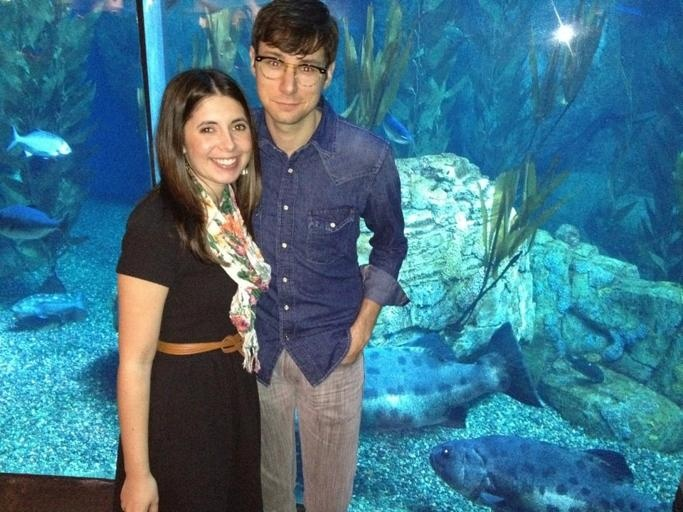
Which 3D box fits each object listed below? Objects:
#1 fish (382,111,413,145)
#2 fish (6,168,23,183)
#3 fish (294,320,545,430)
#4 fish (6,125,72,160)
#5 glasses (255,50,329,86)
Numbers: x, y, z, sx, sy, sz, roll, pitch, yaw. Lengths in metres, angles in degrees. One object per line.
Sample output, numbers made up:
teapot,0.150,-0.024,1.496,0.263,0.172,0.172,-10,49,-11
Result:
fish,0.396,-1.016,4.645,0.361,0.124,0.119,35,34,32
fish,-2.651,-0.647,4.747,0.097,0.098,0.024,20,14,-25
fish,0.436,0.982,4.994,2.288,1.005,0.559,-5,4,11
fish,-2.463,-0.921,4.711,0.485,0.231,0.109,9,26,-15
glasses,-0.271,-0.966,3.062,0.364,0.129,0.077,6,23,-2
